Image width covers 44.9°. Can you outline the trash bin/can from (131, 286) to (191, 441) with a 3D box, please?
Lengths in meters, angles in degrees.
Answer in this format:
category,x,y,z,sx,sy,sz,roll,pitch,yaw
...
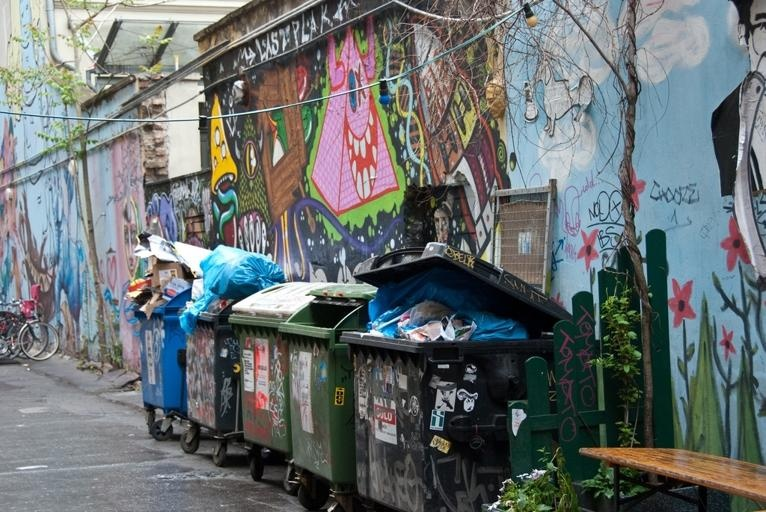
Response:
category,x,y,z,sx,sy,sz,roll,pitch,yaw
trash bin/can,-2.902,1.455,13.201,1.082,1.995,1.132,0,-1,-37

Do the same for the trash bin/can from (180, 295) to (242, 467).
category,x,y,z,sx,sy,sz,roll,pitch,yaw
trash bin/can,-2.017,1.467,11.965,1.099,2.047,1.172,0,-2,-33
